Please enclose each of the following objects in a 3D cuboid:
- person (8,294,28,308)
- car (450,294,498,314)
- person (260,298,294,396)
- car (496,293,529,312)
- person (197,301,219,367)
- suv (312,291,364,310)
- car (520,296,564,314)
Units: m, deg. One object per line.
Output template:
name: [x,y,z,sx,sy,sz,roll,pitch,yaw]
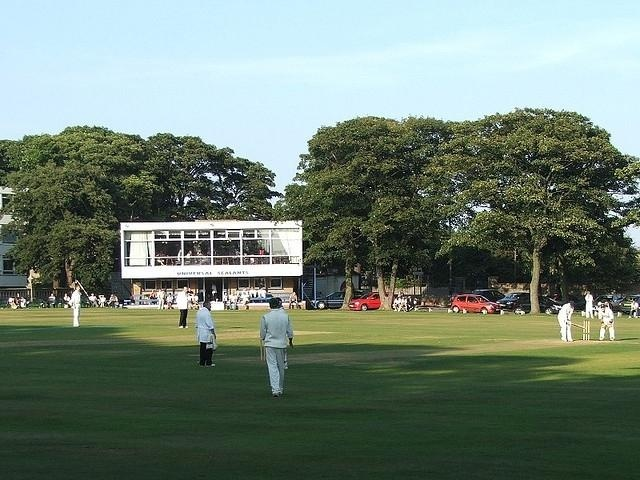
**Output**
person: [-24.009,4.770,84.497,1.605,0.873,1.133,-5,-3,32]
car: [10.939,4.481,75.708,2.570,0.947,1.350,-5,-5,41]
person: [-1.246,2.903,29.469,0.825,2.642,0.917,0,1,-3]
car: [13.656,4.377,76.224,2.526,0.924,1.136,-5,4,-32]
person: [-3.713,2.974,34.620,0.588,2.029,1.539,0,1,-6]
suv: [1.349,5.007,89.327,3.878,1.093,1.609,0,-2,-2]
car: [15.705,4.640,75.846,3.260,1.189,1.396,2,-3,9]
